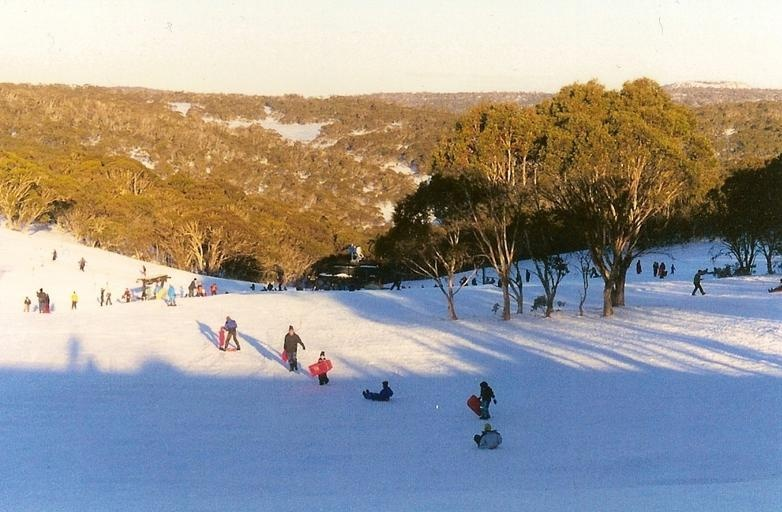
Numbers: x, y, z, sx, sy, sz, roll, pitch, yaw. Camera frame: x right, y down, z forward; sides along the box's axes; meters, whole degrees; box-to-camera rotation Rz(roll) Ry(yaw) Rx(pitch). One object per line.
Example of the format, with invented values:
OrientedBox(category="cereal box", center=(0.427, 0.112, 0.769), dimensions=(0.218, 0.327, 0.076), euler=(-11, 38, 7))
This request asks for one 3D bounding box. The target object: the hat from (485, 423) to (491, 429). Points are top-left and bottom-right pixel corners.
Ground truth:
OrientedBox(category="hat", center=(8.343, 14.772, 105.925), dimensions=(0.572, 0.707, 0.350), euler=(-2, -11, 3))

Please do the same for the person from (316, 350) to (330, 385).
OrientedBox(category="person", center=(-5.970, 10.307, 112.134), dimensions=(1.115, 3.034, 1.171), euler=(3, 9, 31))
